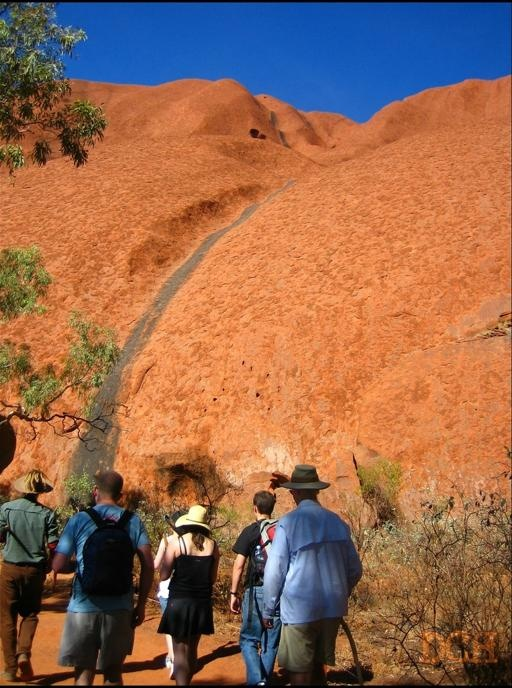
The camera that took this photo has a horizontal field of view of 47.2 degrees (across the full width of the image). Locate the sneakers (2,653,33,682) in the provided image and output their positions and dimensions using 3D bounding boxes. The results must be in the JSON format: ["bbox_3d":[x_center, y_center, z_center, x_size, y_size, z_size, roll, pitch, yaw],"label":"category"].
[{"bbox_3d":[-1.892,2.607,4.697,0.119,0.133,0.317,2,-21,-11],"label":"sneakers"}]

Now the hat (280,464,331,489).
[{"bbox_3d":[0.289,0.857,3.808,0.225,0.093,0.246,0,-3,-15],"label":"hat"}]

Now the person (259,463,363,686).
[{"bbox_3d":[0.331,1.391,3.492,0.587,1.298,0.401,4,-9,-8],"label":"person"}]

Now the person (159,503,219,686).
[{"bbox_3d":[-0.448,1.657,3.839,0.384,1.147,0.259,4,-9,-8],"label":"person"}]

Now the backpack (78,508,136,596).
[{"bbox_3d":[-0.806,1.139,3.194,0.333,0.470,0.502,1,-3,-3],"label":"backpack"}]

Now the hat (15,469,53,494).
[{"bbox_3d":[-1.892,1.203,5.002,0.324,0.117,0.322,4,27,-11],"label":"hat"}]

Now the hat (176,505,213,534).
[{"bbox_3d":[-0.419,1.180,3.964,0.172,0.099,0.198,4,-10,-3],"label":"hat"}]
